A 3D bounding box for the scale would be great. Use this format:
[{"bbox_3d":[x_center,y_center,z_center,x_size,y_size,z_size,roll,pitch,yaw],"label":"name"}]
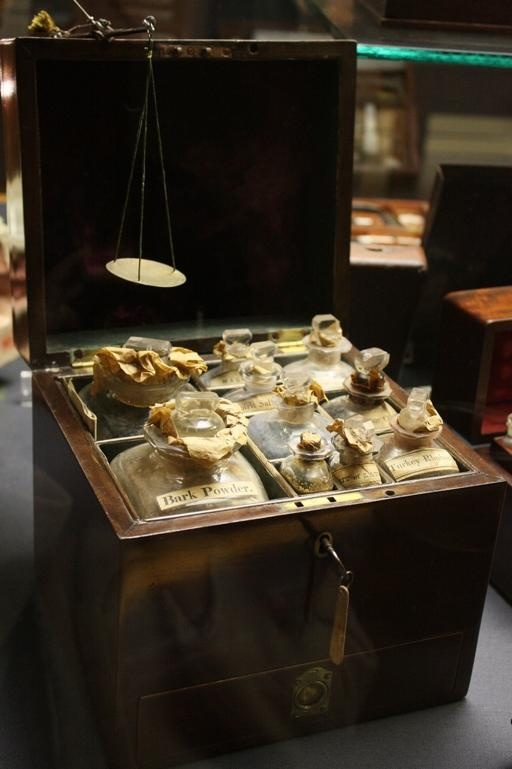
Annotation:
[{"bbox_3d":[-0.163,-0.276,0.820,0.146,0.373,0.258,1,23,-6],"label":"scale"}]
